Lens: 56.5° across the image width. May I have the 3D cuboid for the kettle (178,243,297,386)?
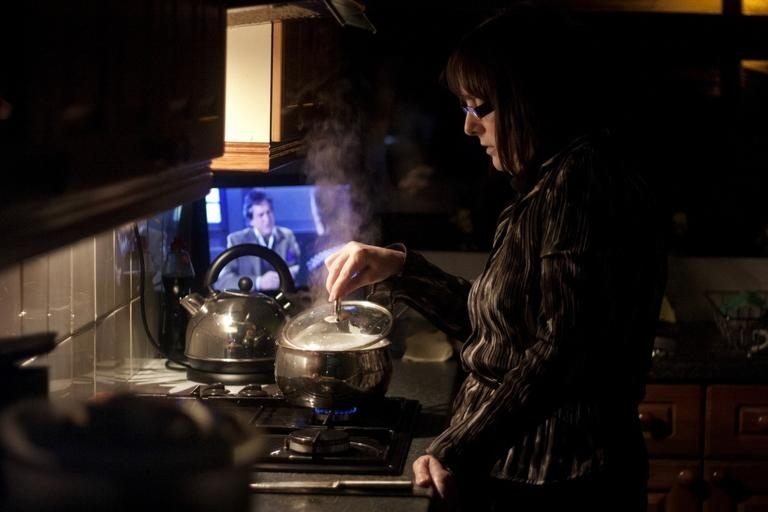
[{"bbox_3d":[-0.371,0.140,1.922,0.349,0.331,0.262,4,4,5],"label":"kettle"}]

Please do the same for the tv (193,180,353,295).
[{"bbox_3d":[-0.409,-0.062,2.487,0.478,0.317,0.019,-1,-3,-25],"label":"tv"}]
